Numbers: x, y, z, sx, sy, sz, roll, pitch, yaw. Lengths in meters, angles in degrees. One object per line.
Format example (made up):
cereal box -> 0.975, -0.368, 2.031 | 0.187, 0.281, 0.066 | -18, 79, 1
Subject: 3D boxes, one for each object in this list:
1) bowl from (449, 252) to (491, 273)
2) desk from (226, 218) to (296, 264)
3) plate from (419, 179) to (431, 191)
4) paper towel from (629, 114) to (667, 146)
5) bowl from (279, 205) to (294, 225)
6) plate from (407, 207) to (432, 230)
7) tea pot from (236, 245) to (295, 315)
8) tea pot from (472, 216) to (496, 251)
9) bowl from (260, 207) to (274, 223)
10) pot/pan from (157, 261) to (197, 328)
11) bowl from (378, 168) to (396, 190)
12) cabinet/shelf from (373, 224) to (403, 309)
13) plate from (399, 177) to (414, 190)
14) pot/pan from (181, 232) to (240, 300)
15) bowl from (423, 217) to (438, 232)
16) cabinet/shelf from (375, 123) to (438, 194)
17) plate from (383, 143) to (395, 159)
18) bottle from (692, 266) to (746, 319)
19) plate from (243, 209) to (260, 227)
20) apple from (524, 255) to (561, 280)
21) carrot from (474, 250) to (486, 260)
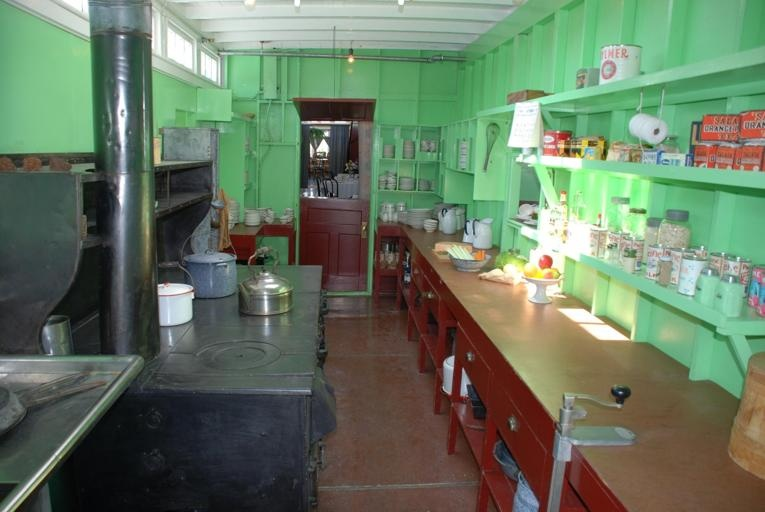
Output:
bowl -> 0.743, 0.042, 4.838 | 0.363, 0.127, 0.320 | 2, 12, -3
desk -> -1.431, -0.235, 6.920 | 0.471, 0.543, 0.875 | 3, 17, 4
plate -> 0.563, -0.929, 7.590 | 0.158, 0.112, 0.119 | 0, 8, -7
paper towel -> 1.405, -0.671, 3.031 | 0.190, 0.157, 0.099 | 8, 13, 28
bowl -> -1.245, -0.537, 7.557 | 0.178, 0.204, 0.246 | -4, 6, -40
plate -> 0.459, -0.472, 7.161 | 0.267, 0.186, 0.260 | -3, 10, -22
tea pot -> -0.809, 0.159, 3.891 | 0.359, 0.433, 0.443 | 6, 14, 27
tea pot -> 0.982, -0.205, 5.574 | 0.301, 0.305, 0.192 | 2, 7, 8
bowl -> -1.469, -0.530, 7.380 | 0.182, 0.154, 0.152 | -7, 17, -11
pot/pan -> -1.389, 0.233, 3.739 | 0.324, 0.381, 0.368 | 0, 9, -13
bowl -> 0.079, -0.988, 7.498 | 0.252, 0.233, 0.249 | 0, 8, 0
cabinet/shelf -> 0.070, 0.108, 7.246 | 0.363, 0.998, 0.637 | 2, 12, -2
plate -> 0.317, -0.935, 7.467 | 0.173, 0.124, 0.170 | -1, 11, -5
pot/pan -> -1.244, 0.092, 4.199 | 0.399, 0.271, 0.349 | -1, 7, -7
bowl -> 0.594, -0.375, 6.935 | 0.160, 0.119, 0.160 | 0, 9, 0
cabinet/shelf -> 0.309, -1.278, 7.540 | 0.976, 0.904, 0.318 | 1, 11, 1
plate -> 0.093, -1.374, 7.542 | 0.189, 0.210, 0.190 | 8, 9, 31
bottle -> 1.530, 0.164, 2.607 | 0.156, 0.185, 0.185 | -4, 13, -28
plate -> -1.618, -0.475, 7.148 | 0.208, 0.196, 0.204 | -1, 10, -9
apple -> 1.124, 0.093, 4.047 | 0.196, 0.089, 0.194 | 6, 32, 9
carrot -> 0.823, 0.012, 4.822 | 0.093, 0.046, 0.112 | -3, 25, 28
